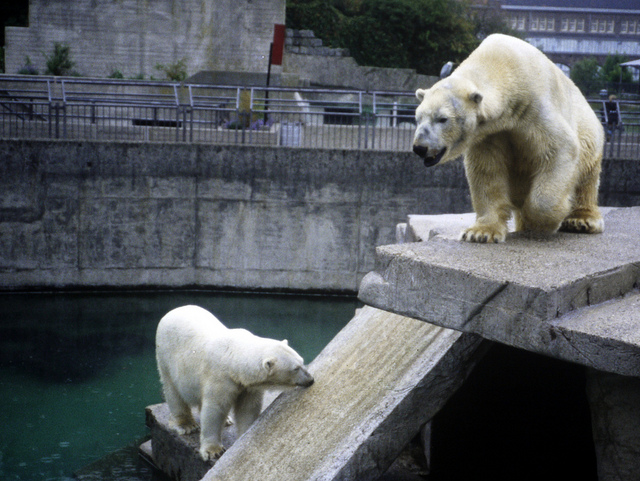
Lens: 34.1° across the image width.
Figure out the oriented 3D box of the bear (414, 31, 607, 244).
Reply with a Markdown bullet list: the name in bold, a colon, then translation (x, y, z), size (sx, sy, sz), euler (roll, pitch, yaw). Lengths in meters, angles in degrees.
- **bear**: translation (3.002, -1.504, 15.463), size (3.731, 3.234, 1.576), euler (-1, 1, -41)

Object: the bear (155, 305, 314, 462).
- **bear**: translation (-1.400, 2.096, 15.696), size (2.505, 2.133, 1.140), euler (14, 19, 31)
